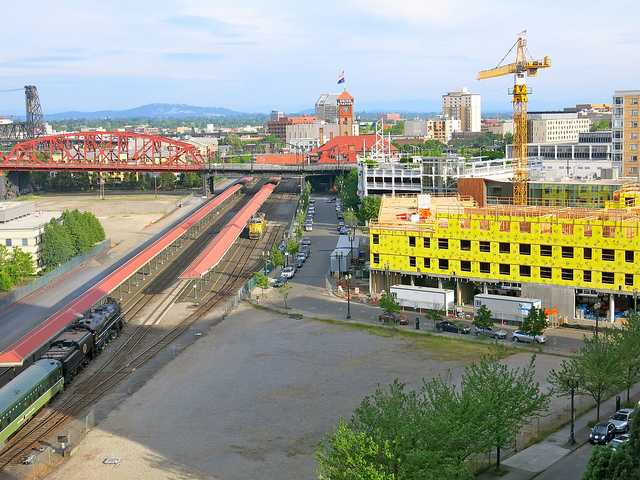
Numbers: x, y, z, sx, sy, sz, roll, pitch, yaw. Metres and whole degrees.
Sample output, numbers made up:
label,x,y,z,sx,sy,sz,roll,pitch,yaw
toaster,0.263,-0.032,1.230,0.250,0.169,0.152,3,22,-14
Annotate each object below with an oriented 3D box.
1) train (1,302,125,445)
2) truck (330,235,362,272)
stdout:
label,x,y,z,sx,sy,sz,roll,pitch,yaw
train,-25.863,13.886,96.753,13.799,7.967,20.128,-3,3,-15
truck,3.835,1.698,141.756,2.161,2.522,9.767,2,18,5
